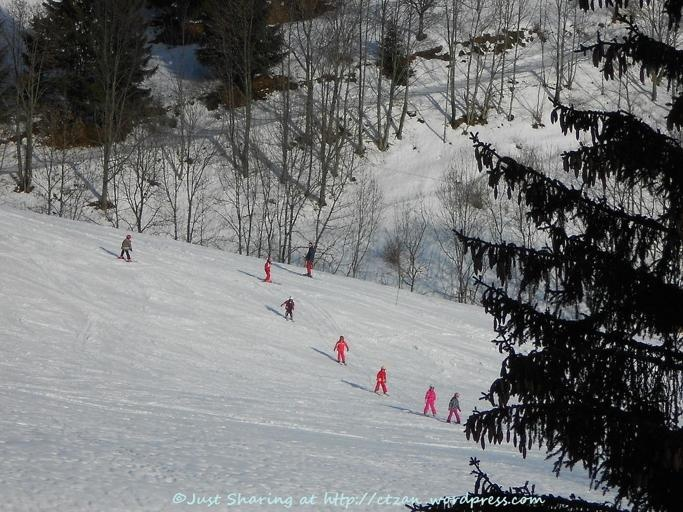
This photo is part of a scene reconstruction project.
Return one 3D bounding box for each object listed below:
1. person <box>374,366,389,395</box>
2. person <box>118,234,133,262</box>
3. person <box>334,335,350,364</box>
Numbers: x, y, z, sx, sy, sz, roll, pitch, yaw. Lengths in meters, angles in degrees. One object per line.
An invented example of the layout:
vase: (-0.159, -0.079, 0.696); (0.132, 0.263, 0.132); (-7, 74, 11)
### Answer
person: (2.177, 7.192, 69.678); (0.666, 1.482, 0.425); (25, 49, 15)
person: (-13.704, -0.539, 76.276); (0.801, 1.116, 1.752); (5, 4, -11)
person: (-0.141, 5.624, 72.088); (1.043, 0.747, 2.550); (-3, 46, 0)
